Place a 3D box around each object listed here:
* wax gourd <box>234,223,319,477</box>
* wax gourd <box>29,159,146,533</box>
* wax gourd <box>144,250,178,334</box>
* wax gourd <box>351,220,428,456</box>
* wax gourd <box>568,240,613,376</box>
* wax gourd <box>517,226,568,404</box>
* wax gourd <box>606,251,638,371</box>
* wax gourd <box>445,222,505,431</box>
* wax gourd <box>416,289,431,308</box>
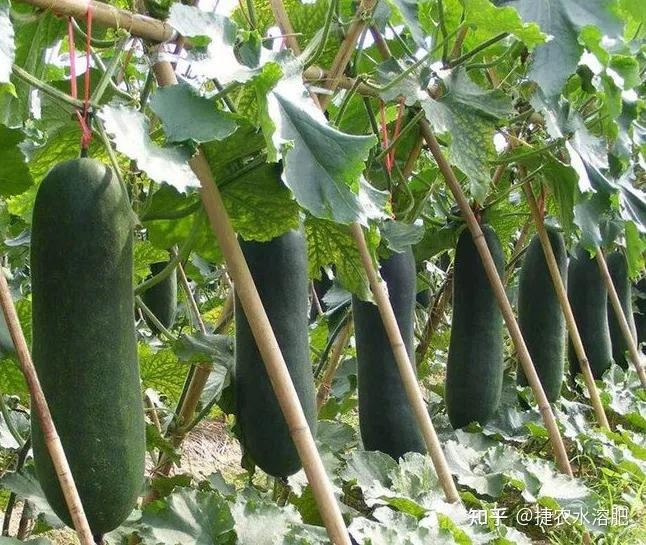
[{"bbox_3d":[-0.119,0.194,1.701,0.206,0.539,0.249,-3,-8,12],"label":"wax gourd"},{"bbox_3d":[-0.419,0.131,1.331,0.199,0.654,0.153,0,-7,-14],"label":"wax gourd"},{"bbox_3d":[-0.534,0.073,2.445,0.112,0.248,0.343,0,-9,-13],"label":"wax gourd"},{"bbox_3d":[0.154,0.189,1.820,0.171,0.531,0.565,-2,-9,6],"label":"wax gourd"},{"bbox_3d":[1.000,0.138,2.883,0.167,0.704,0.193,-3,11,19],"label":"wax gourd"},{"bbox_3d":[0.741,0.156,2.467,0.155,0.530,0.164,1,-8,-21],"label":"wax gourd"},{"bbox_3d":[1.148,0.151,2.893,0.099,0.479,0.120,-8,9,-13],"label":"wax gourd"},{"bbox_3d":[0.445,0.171,2.258,0.192,0.582,0.155,-6,-9,34],"label":"wax gourd"},{"bbox_3d":[0.463,0.115,3.433,0.066,0.089,0.087,2,9,0],"label":"wax gourd"}]
